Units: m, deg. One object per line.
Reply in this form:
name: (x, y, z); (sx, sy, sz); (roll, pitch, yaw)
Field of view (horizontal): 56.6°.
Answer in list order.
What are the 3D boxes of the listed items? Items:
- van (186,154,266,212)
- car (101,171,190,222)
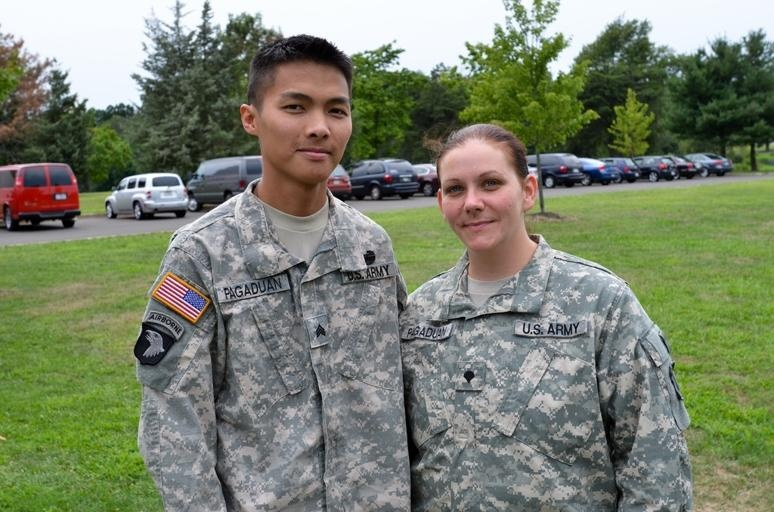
van: (-5.342, -2.423, 24.056); (3.470, 1.721, 1.670); (4, 8, 38)
car: (-7.491, -1.890, 22.453); (1.448, 1.077, 2.709); (-3, 7, -39)
